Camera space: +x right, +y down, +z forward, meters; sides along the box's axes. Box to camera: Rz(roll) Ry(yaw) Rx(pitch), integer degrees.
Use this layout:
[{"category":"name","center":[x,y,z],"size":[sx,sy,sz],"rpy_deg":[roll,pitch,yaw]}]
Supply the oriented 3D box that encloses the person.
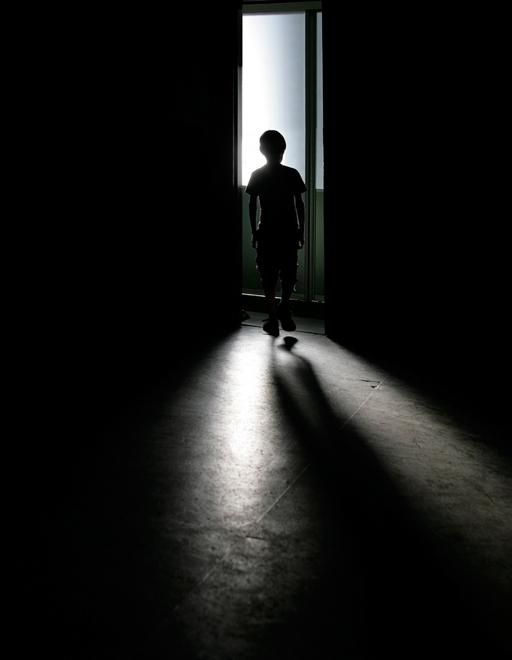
[{"category":"person","center":[0.195,-0.950,5.455],"size":[0.438,2.177,0.393],"rpy_deg":[0,-18,3]}]
